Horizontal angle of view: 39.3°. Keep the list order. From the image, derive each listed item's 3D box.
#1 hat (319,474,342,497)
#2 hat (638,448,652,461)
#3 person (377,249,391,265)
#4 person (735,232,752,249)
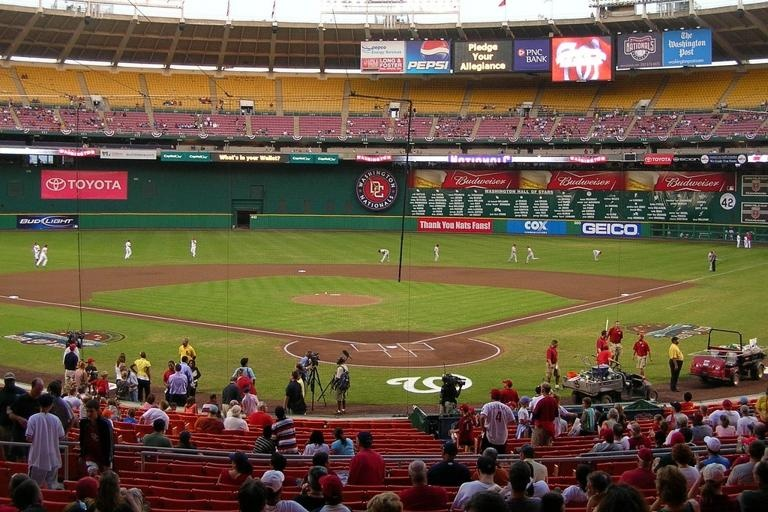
[{"bbox_3d":[-2.093,9.041,42.562,0.847,0.833,0.470,-1,-9,5],"label":"hat"},{"bbox_3d":[10.610,7.939,43.509,0.559,0.506,0.309,-1,-9,3],"label":"hat"},{"bbox_3d":[0.024,-0.091,83.779,1.194,0.975,1.071,4,-4,19],"label":"person"},{"bbox_3d":[29.710,-1.355,88.614,0.733,1.652,1.553,-9,11,-41],"label":"person"}]
